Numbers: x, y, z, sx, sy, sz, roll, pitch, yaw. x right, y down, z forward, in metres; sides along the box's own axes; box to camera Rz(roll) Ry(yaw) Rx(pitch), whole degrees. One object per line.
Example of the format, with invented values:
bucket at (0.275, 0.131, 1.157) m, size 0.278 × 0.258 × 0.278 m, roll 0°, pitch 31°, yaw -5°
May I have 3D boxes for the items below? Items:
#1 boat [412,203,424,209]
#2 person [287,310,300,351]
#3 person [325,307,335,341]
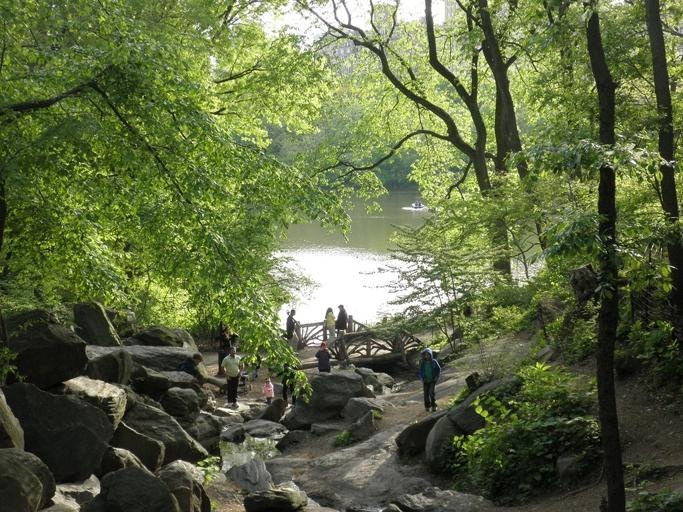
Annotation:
boat at (6.433, -4.239, 55.174) m, size 0.630 × 0.428 × 1.111 m, roll 5°, pitch 18°, yaw 1°
person at (-2.068, 3.146, 27.775) m, size 0.536 × 1.915 × 1.548 m, roll 0°, pitch -13°, yaw -4°
person at (-0.506, 2.923, 28.039) m, size 0.461 × 1.382 × 0.739 m, roll -1°, pitch -13°, yaw -2°
